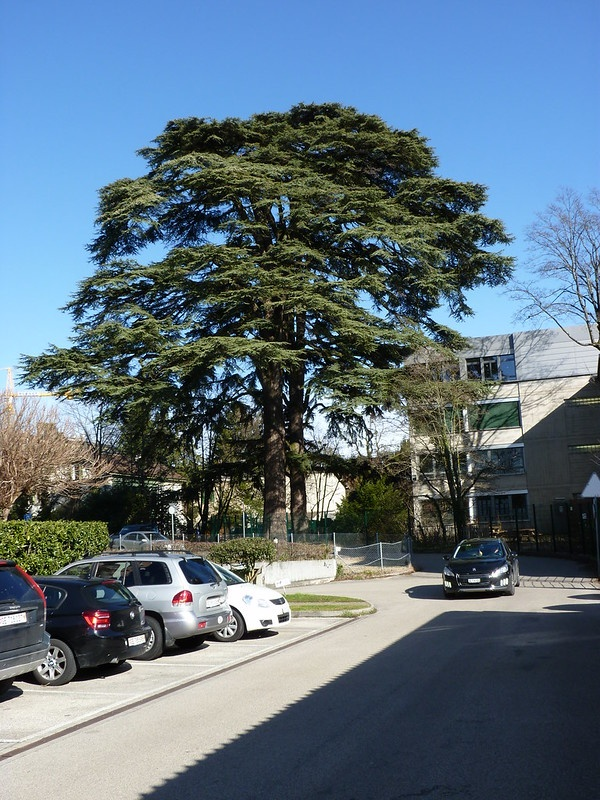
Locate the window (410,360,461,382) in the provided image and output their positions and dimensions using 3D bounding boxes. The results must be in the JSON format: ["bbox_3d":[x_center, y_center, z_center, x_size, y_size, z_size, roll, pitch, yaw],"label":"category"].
[{"bbox_3d":[6.703,-1.459,34.717,1.883,0.738,1.779,0,-1,-8],"label":"window"}]

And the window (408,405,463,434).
[{"bbox_3d":[7.115,1.118,36.584,1.995,1.020,1.944,-9,-7,16],"label":"window"}]

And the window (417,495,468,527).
[{"bbox_3d":[9.011,7.103,43.473,3.198,1.241,3.628,-1,-4,13],"label":"window"}]

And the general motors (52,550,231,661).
[{"bbox_3d":[-2.737,3.199,11.279,3.070,1.186,1.417,-1,-7,18],"label":"general motors"}]

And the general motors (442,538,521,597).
[{"bbox_3d":[4.609,4.394,17.746,1.543,1.349,2.161,-6,-9,25],"label":"general motors"}]

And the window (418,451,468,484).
[{"bbox_3d":[8.636,4.110,41.827,2.913,1.899,1.485,-3,-17,9],"label":"window"}]

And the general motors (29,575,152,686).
[{"bbox_3d":[-2.940,2.863,8.935,1.771,0.722,0.937,0,-7,21],"label":"general motors"}]

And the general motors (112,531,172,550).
[{"bbox_3d":[-6.696,5.987,29.064,2.799,0.916,1.263,-7,-10,28],"label":"general motors"}]
